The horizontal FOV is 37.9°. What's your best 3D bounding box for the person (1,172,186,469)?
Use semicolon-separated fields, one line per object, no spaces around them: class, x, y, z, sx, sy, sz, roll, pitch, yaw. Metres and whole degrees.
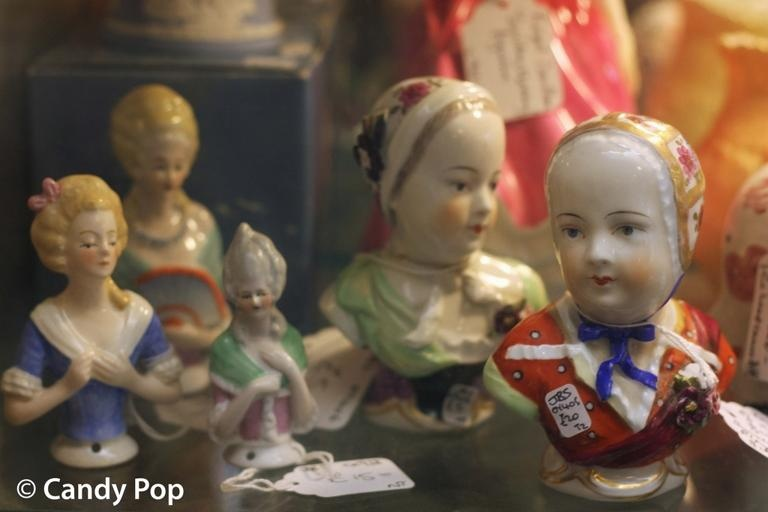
person;-0.662;0.162;2.576;0.400;0.674;0.221;5;24;-9

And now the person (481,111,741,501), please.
person;0.547;0.126;2.541;0.513;0.856;0.307;16;24;17
